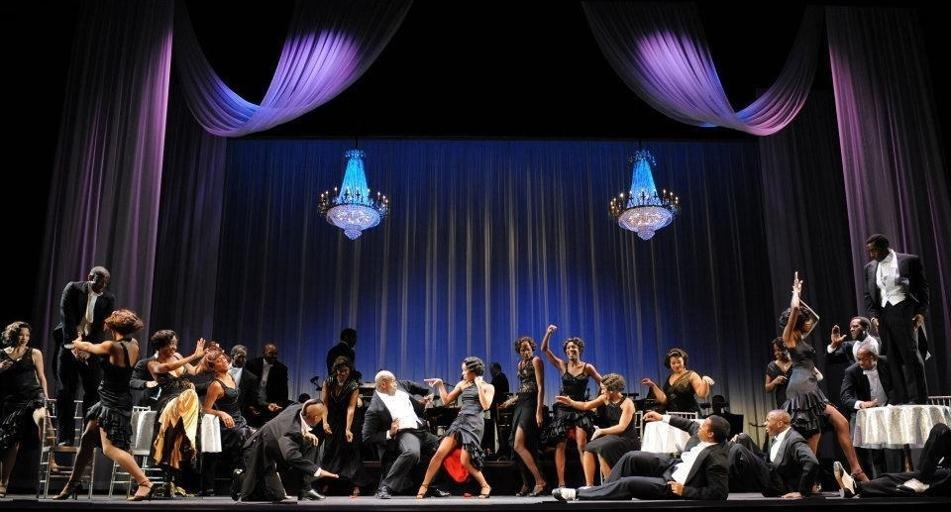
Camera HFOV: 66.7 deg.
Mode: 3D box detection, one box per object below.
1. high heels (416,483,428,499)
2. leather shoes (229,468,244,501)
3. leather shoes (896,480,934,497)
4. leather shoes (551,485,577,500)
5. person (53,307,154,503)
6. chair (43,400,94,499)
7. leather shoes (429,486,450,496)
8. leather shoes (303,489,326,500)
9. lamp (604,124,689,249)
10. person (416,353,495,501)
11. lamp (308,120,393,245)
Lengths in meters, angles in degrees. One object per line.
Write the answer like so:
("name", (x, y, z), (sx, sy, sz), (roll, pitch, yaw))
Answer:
("high heels", (-0.810, 3.612, 11.085), (0.188, 0.197, 0.457), (1, -14, -5))
("leather shoes", (-3.522, 3.398, 10.666), (0.199, 0.524, 0.229), (3, -4, -3))
("leather shoes", (6.118, 3.249, 10.090), (0.390, 0.147, 0.197), (3, -25, 5))
("leather shoes", (1.277, 3.409, 10.301), (0.358, 0.162, 0.298), (-2, -14, 6))
("person", (-5.091, 2.101, 10.219), (1.108, 2.636, 0.843), (4, -14, -16))
("chair", (-6.238, 2.912, 11.056), (0.740, 1.430, 0.744), (-12, -20, 31))
("leather shoes", (-0.563, 3.729, 11.393), (0.394, 0.157, 0.131), (1, -17, -5))
("leather shoes", (-2.419, 3.606, 10.882), (0.349, 0.142, 0.134), (2, -12, -3))
("lamp", (3.723, -1.509, 16.125), (1.578, 2.630, 2.092), (-4, -14, 15))
("person", (-0.245, 2.741, 11.674), (1.068, 2.167, 1.110), (0, -14, -1))
("lamp", (-2.626, -1.561, 16.031), (1.610, 2.649, 1.965), (3, -14, -13))
